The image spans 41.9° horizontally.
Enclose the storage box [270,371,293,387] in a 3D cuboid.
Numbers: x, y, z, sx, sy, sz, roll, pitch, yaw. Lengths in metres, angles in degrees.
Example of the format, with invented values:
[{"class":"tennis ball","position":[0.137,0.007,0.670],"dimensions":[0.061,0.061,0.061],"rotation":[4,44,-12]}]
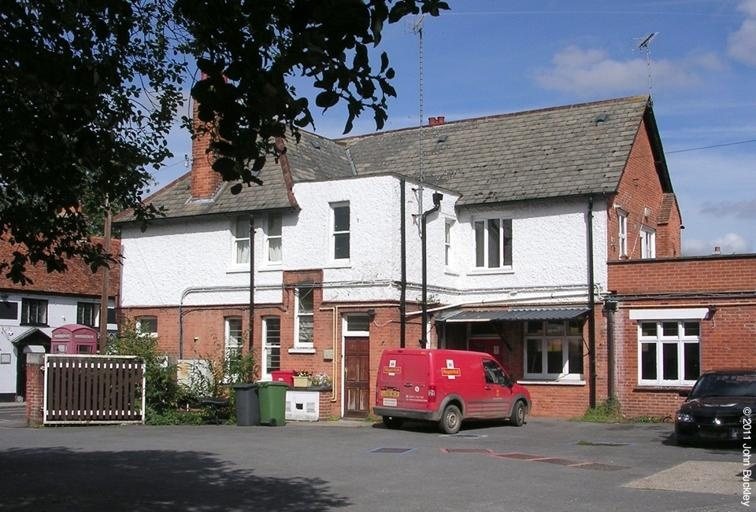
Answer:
[{"class":"storage box","position":[-3.260,4.145,33.549],"dimensions":[0.631,0.396,0.448],"rotation":[2,-6,6]}]

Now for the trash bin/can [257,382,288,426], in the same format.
[{"class":"trash bin/can","position":[-3.372,4.674,31.289],"dimensions":[0.909,1.365,0.516],"rotation":[0,-7,-11]}]

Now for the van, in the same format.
[{"class":"van","position":[2.535,4.127,30.406],"dimensions":[5.052,2.505,2.199],"rotation":[4,-9,-31]}]

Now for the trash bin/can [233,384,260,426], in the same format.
[{"class":"trash bin/can","position":[-4.139,4.694,31.192],"dimensions":[0.786,1.289,0.529],"rotation":[0,-7,-8]}]
